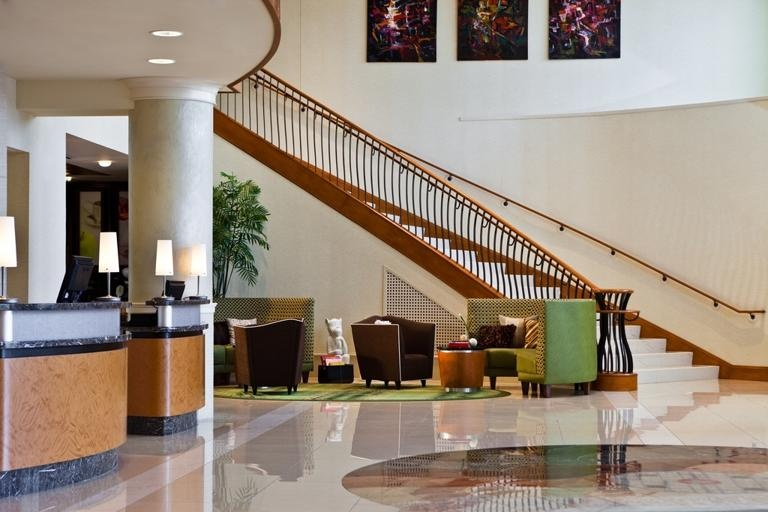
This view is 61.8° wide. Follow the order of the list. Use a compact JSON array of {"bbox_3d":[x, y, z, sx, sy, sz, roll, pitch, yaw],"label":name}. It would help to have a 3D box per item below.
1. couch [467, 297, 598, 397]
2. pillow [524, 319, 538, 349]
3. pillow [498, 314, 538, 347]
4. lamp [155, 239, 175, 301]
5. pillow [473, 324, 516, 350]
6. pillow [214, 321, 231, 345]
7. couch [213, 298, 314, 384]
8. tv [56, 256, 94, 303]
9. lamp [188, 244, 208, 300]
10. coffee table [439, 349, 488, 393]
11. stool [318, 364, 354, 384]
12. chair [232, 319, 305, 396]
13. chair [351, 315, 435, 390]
[{"bbox_3d":[2.205,1.357,9.791,1.474,1.391,2.061,2,-4,-30],"label":"couch"},{"bbox_3d":[2.270,1.225,9.955,0.132,0.360,0.383,4,5,9],"label":"pillow"},{"bbox_3d":[2.099,1.191,10.106,0.458,0.448,0.174,1,-16,32],"label":"pillow"},{"bbox_3d":[-2.433,0.142,6.964,0.175,0.595,0.170,-7,4,-35],"label":"lamp"},{"bbox_3d":[1.763,1.257,10.121,0.453,0.435,0.139,-2,-45,15],"label":"pillow"},{"bbox_3d":[-2.611,1.269,10.477,0.343,0.319,0.124,-8,3,-39],"label":"pillow"},{"bbox_3d":[-1.975,1.250,10.795,1.748,1.567,1.338,0,-11,-3],"label":"couch"},{"bbox_3d":[-2.578,0.185,5.404,0.238,0.427,0.573,1,-6,-23],"label":"tv"},{"bbox_3d":[-2.102,0.179,7.328,0.177,0.613,0.176,-5,-11,10],"label":"lamp"},{"bbox_3d":[1.150,1.719,9.580,0.772,0.578,0.790,2,-12,-4],"label":"coffee table"},{"bbox_3d":[-0.770,1.904,10.432,0.548,0.300,0.179,0,-6,-10],"label":"stool"},{"bbox_3d":[-1.661,1.482,9.569,1.025,1.200,1.027,1,-7,0],"label":"chair"},{"bbox_3d":[0.147,1.480,10.042,0.975,1.113,1.183,-3,-5,39],"label":"chair"}]
